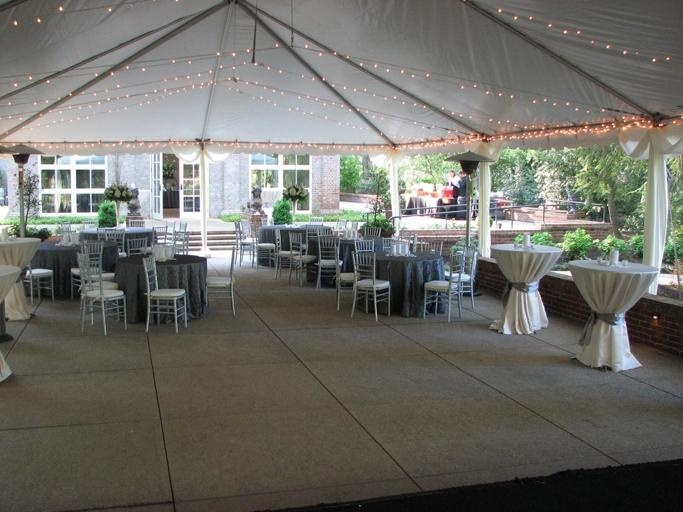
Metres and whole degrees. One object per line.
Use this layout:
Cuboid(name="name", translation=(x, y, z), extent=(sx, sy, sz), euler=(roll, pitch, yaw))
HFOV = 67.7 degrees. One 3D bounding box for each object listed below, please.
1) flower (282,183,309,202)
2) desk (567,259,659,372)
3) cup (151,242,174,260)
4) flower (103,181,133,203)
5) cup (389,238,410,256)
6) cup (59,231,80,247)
Cuboid(name="flower", translation=(-1.380, -1.881, 15.333), extent=(0.659, 0.560, 0.656), euler=(-2, 5, -26))
Cuboid(name="desk", translation=(3.708, 0.778, 7.098), extent=(0.998, 1.428, 1.124), euler=(-1, 5, -33))
Cuboid(name="cup", translation=(-3.163, -0.080, 8.901), extent=(0.265, 0.352, 0.358), euler=(3, 5, 42))
Cuboid(name="flower", translation=(-6.801, -1.946, 15.634), extent=(0.789, 0.696, 0.755), euler=(11, 15, 41))
Cuboid(name="cup", translation=(1.107, -0.168, 9.703), extent=(0.325, 0.200, 0.326), euler=(0, 5, 0))
Cuboid(name="cup", translation=(-5.750, -0.367, 10.860), extent=(0.350, 0.264, 0.352), euler=(1, 1, 0))
